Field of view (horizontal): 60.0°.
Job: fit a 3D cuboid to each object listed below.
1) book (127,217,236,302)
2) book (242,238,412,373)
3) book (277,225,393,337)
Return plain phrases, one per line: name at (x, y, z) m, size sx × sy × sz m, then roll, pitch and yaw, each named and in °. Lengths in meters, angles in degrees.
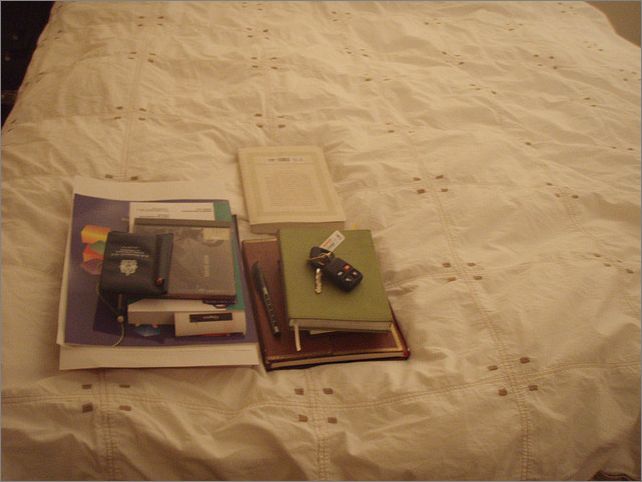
book at (-0.274, 0.027, 1.087) m, size 0.225 × 0.043 × 0.180 m, roll 2°, pitch 47°, yaw -13°
book at (0.000, 0.113, 1.157) m, size 0.292 × 0.105 × 0.303 m, roll -8°, pitch 71°, yaw -7°
book at (0.021, 0.087, 1.119) m, size 0.323 × 0.061 × 0.318 m, roll -3°, pitch 43°, yaw -10°
